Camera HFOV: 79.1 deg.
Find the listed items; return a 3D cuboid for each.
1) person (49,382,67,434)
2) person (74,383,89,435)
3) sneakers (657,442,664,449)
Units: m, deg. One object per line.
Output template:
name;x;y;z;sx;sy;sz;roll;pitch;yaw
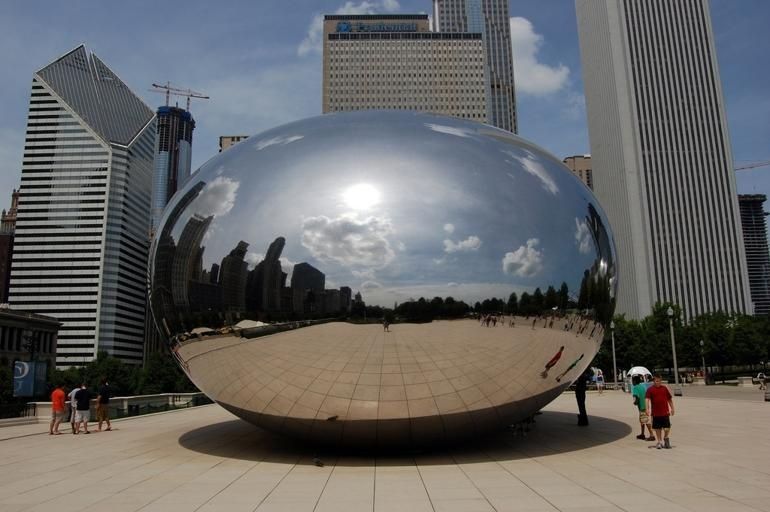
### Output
person;-10.629;5.028;14.965;0.386;1.549;1.537;0;-1;-37
person;-9.733;4.933;14.903;0.422;1.702;1.648;0;-1;-33
sneakers;6.372;4.426;10.769;0.114;0.100;0.166;0;-1;28
